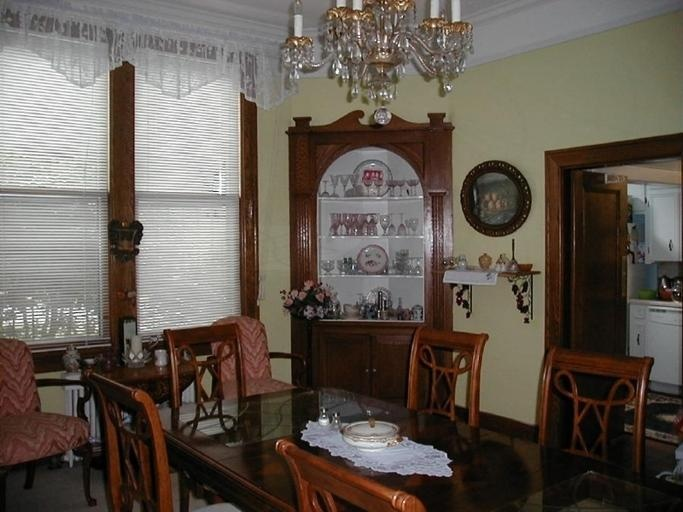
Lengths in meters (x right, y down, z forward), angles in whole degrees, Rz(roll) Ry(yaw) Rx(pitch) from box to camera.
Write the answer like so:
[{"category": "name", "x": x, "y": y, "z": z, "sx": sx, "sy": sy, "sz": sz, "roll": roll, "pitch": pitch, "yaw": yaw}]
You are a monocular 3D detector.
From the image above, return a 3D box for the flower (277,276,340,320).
[{"category": "flower", "x": -0.283, "y": 0.416, "z": 5.139, "sx": 0.382, "sy": 0.353, "sz": 0.402, "roll": 4, "pitch": -6, "yaw": -3}]

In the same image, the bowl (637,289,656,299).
[{"category": "bowl", "x": 3.601, "y": 0.461, "z": 6.628, "sx": 0.117, "sy": 0.064, "sz": 0.132, "roll": 0, "pitch": 3, "yaw": -9}]

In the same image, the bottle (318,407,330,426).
[{"category": "bottle", "x": -0.080, "y": 0.803, "z": 2.775, "sx": 0.061, "sy": 0.073, "sz": 0.060, "roll": 0, "pitch": -1, "yaw": -36}]
